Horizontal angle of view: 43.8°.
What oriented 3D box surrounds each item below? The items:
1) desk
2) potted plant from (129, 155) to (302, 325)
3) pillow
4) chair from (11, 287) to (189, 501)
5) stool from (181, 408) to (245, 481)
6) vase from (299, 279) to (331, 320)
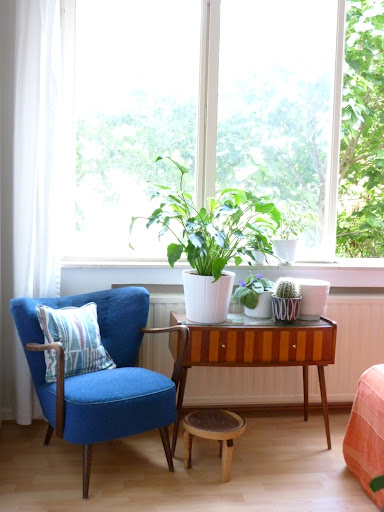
[{"bbox_3d":[0.274,0.626,2.343,0.703,0.562,0.263,0,-1,-6],"label":"desk"},{"bbox_3d":[0.041,-0.045,2.521,0.913,0.881,0.875,-1,6,-18],"label":"potted plant"},{"bbox_3d":[-0.522,0.378,2.131,0.168,0.298,0.336,7,3,40],"label":"pillow"},{"bbox_3d":[-0.400,0.530,2.116,0.635,0.703,0.667,-3,8,-44],"label":"chair"},{"bbox_3d":[0.082,0.823,2.103,0.250,0.231,0.309,0,5,-22],"label":"stool"},{"bbox_3d":[0.582,0.223,2.378,0.178,0.181,0.194,3,4,15],"label":"vase"}]
